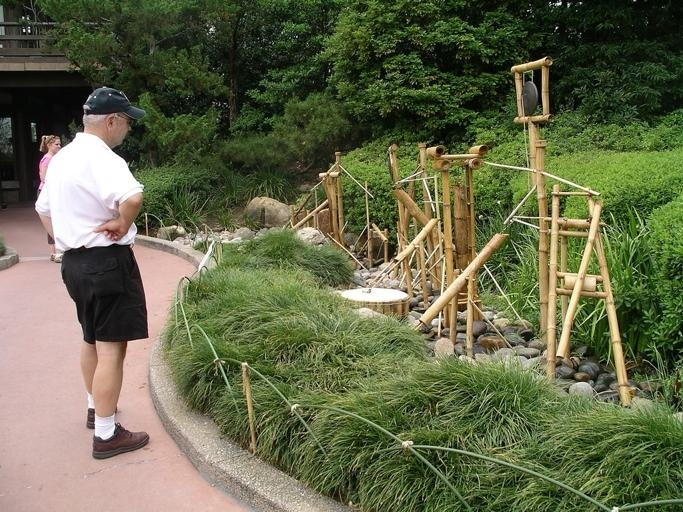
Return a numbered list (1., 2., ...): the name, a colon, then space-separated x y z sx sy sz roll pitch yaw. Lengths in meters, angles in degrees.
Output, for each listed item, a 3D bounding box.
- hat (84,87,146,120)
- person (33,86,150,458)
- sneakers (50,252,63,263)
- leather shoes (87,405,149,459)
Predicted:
1. hat: -1.564 -1.071 4.889 0.415 0.249 0.269 -6 15 -31
2. person: -1.628 0.116 4.877 0.698 2.510 0.503 5 10 38
3. sneakers: -3.575 0.028 8.878 0.095 0.129 0.278 1 -8 -22
4. leather shoes: -1.534 1.262 5.009 0.529 0.258 0.205 1 1 -40
